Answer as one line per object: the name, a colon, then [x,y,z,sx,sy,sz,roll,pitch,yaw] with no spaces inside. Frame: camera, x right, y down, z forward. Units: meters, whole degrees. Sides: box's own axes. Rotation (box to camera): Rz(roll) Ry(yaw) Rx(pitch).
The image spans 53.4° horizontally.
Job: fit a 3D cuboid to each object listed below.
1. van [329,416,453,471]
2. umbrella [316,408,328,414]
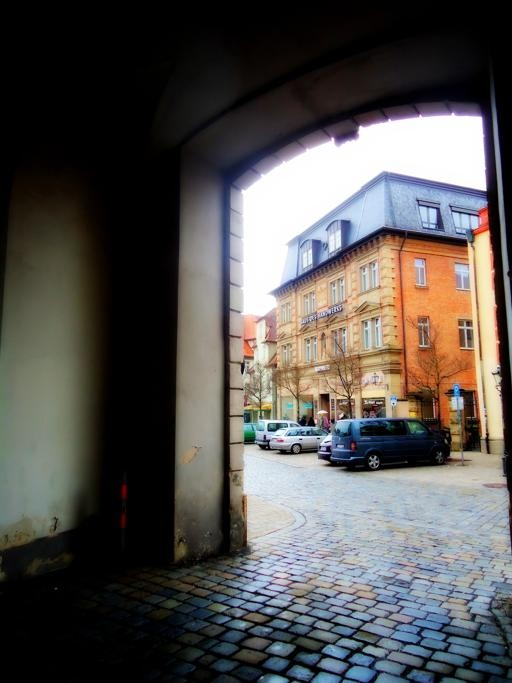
van: [4.343,3.559,17.168,3.173,1.615,1.846,-2,-6,-16]
umbrella: [4.473,4.702,34.390,0.750,0.338,0.837,-1,0,3]
